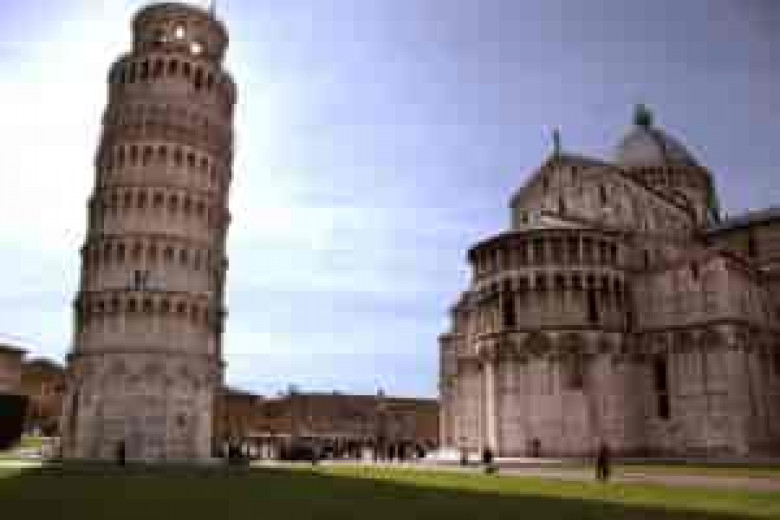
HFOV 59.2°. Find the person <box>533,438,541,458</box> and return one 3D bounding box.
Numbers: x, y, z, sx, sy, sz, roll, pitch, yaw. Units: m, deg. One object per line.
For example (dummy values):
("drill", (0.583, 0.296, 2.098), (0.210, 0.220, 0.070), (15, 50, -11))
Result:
("person", (11.299, 14.351, 52.769), (0.557, 1.359, 0.459), (0, -19, -1))
